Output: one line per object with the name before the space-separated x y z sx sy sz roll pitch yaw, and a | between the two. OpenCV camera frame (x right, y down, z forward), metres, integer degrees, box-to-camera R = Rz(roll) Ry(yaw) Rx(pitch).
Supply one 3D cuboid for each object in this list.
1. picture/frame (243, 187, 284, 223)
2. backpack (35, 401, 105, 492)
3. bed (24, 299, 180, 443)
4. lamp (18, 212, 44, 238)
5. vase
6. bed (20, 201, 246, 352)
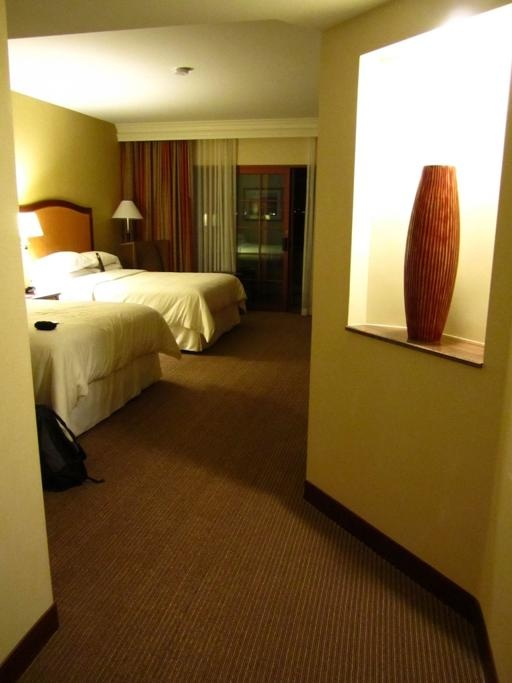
picture/frame | 0.131 -1.982 7.055 0.466 0.383 0.018 1 12 9
backpack | -0.915 0.523 2.399 0.262 0.346 0.425 -6 38 -46
bed | -0.924 0.140 3.024 0.835 0.378 0.879 1 11 3
lamp | -2.219 -1.153 4.842 0.184 0.273 0.454 -4 11 -23
vase | 0.558 -0.271 1.566 0.156 0.555 0.090 4 10 19
bed | -1.362 -0.806 5.505 2.008 1.401 1.535 4 14 8
